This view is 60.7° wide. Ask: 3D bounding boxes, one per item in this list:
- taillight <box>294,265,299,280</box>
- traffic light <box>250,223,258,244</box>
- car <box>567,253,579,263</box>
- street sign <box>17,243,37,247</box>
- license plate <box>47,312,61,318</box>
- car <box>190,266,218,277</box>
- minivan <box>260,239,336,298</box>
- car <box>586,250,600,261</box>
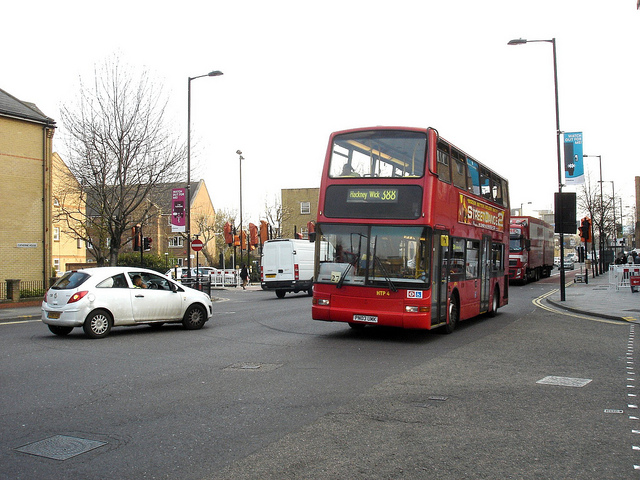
[{"bbox_3d":[-1.317,1.809,30.355,0.275,0.806,0.085,0,0,-20],"label":"taillight"},{"bbox_3d":[-5.488,-0.498,44.939,0.620,1.647,1.303,0,-1,-7],"label":"traffic light"},{"bbox_3d":[41.523,2.982,89.571,1.138,1.539,3.554,2,7,19],"label":"car"},{"bbox_3d":[-16.323,0.288,30.348,0.090,0.221,1.025,0,-1,38],"label":"street sign"},{"bbox_3d":[-6.775,1.923,13.836,0.508,0.138,0.023,-1,-1,32],"label":"license plate"},{"bbox_3d":[-9.956,2.707,46.492,1.610,0.891,1.061,2,-3,-8],"label":"car"},{"bbox_3d":[-1.400,1.734,33.199,2.414,3.432,5.981,-4,-4,17],"label":"minivan"},{"bbox_3d":[40.910,2.327,81.611,1.417,1.746,2.673,1,6,25],"label":"car"}]
